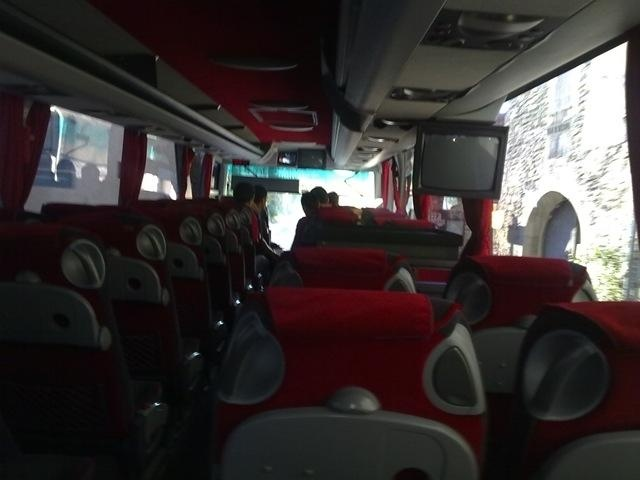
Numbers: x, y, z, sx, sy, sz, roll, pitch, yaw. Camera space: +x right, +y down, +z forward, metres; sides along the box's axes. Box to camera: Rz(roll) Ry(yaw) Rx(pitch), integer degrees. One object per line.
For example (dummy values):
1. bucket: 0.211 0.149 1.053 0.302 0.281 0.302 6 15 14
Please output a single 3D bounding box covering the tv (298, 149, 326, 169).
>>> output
1. tv: -0.172 -1.691 9.303 0.571 0.411 0.257 3 4 5
